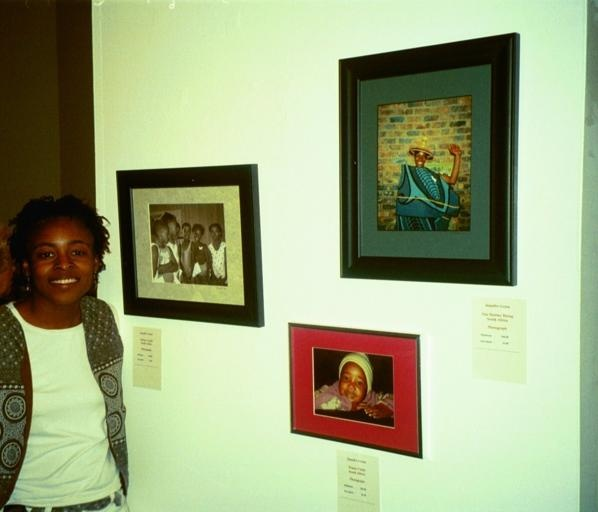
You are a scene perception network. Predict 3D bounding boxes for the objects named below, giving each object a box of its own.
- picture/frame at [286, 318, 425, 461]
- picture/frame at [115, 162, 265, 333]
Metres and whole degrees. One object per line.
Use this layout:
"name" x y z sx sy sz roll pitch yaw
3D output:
"picture/frame" 0.164 0.348 1.555 0.363 0.339 0.015 3 8 29
"picture/frame" -0.302 -0.036 1.710 0.469 0.489 0.041 1 7 28
